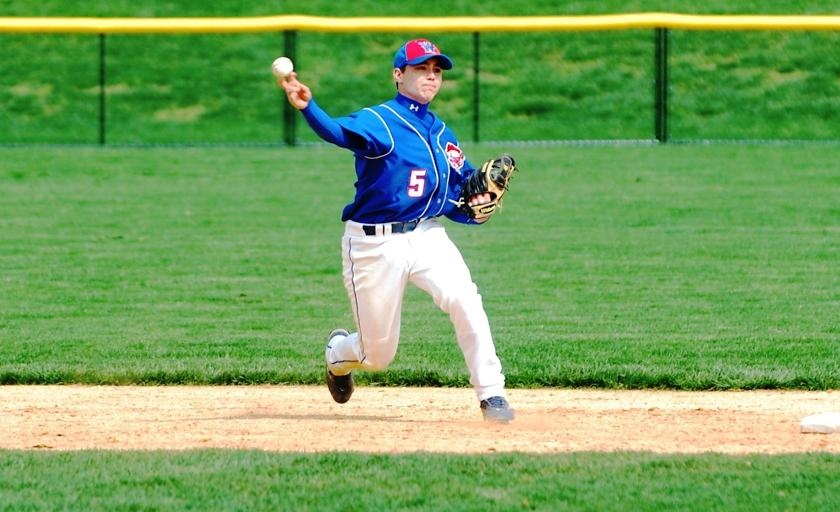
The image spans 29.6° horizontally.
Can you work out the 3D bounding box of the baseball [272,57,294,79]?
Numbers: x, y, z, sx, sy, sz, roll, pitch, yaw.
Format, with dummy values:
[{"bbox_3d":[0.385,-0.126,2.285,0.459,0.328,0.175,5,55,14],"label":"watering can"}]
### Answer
[{"bbox_3d":[-1.443,-1.990,16.834,0.191,0.219,0.248,-4,5,0],"label":"baseball"}]
